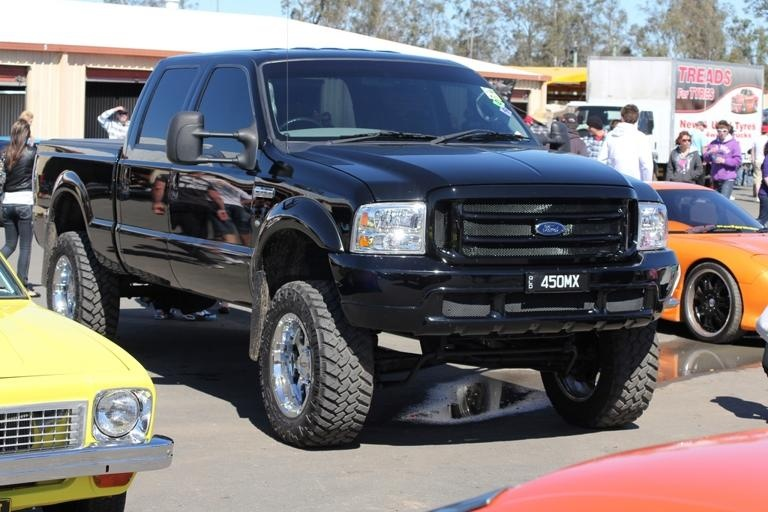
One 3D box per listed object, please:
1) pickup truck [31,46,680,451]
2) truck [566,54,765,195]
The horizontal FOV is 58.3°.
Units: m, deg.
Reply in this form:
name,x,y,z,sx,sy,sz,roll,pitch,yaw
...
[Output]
name,x,y,z,sx,sy,sz,roll,pitch,yaw
pickup truck,-0.848,-0.406,6.913,3.389,2.199,5.771,2,1,-33
truck,12.711,-6.405,31.303,9.427,4.423,5.229,-6,12,-35
